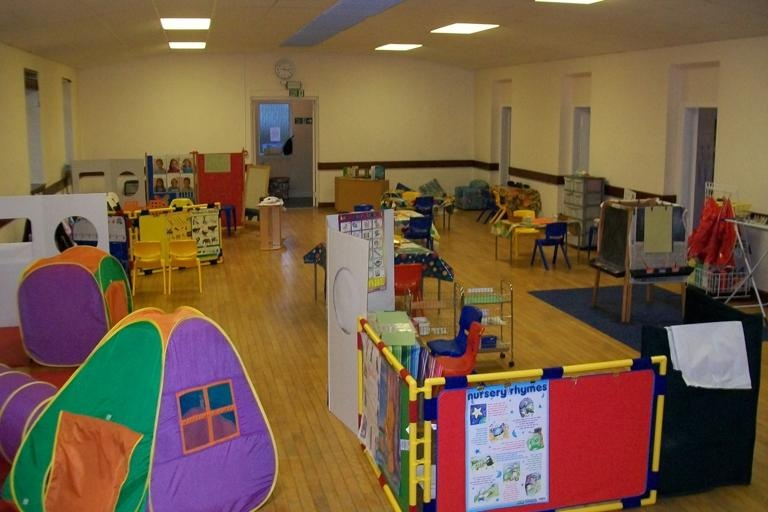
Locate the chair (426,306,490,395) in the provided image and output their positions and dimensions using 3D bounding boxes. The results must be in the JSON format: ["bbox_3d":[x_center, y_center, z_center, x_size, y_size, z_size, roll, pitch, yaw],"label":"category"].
[{"bbox_3d":[0.892,1.105,6.466,0.664,1.030,0.797,2,10,-16],"label":"chair"}]

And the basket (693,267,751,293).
[{"bbox_3d":[5.625,0.393,9.707,0.440,0.298,0.668,1,7,16],"label":"basket"}]

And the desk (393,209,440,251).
[{"bbox_3d":[0.606,-0.588,11.764,0.656,0.612,0.951,-1,22,-9],"label":"desk"}]

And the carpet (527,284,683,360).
[{"bbox_3d":[3.789,0.790,9.518,2.582,0.289,2.171,-9,14,-39],"label":"carpet"}]

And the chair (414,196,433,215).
[{"bbox_3d":[0.947,-1.238,13.898,0.456,0.501,0.347,1,11,6],"label":"chair"}]

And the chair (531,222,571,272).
[{"bbox_3d":[3.465,-0.199,11.921,0.710,1.125,0.777,-4,17,-14],"label":"chair"}]

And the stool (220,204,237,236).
[{"bbox_3d":[-3.965,-0.958,14.733,0.369,0.706,0.920,-3,11,-15],"label":"stool"}]

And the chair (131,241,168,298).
[{"bbox_3d":[-4.357,0.032,10.695,0.606,1.073,0.720,-4,27,-25],"label":"chair"}]

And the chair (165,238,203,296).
[{"bbox_3d":[-3.767,0.027,10.910,0.746,1.053,0.765,-13,28,-39],"label":"chair"}]

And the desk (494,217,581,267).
[{"bbox_3d":[3.111,-0.389,11.966,1.199,0.719,1.305,-1,8,-13],"label":"desk"}]
